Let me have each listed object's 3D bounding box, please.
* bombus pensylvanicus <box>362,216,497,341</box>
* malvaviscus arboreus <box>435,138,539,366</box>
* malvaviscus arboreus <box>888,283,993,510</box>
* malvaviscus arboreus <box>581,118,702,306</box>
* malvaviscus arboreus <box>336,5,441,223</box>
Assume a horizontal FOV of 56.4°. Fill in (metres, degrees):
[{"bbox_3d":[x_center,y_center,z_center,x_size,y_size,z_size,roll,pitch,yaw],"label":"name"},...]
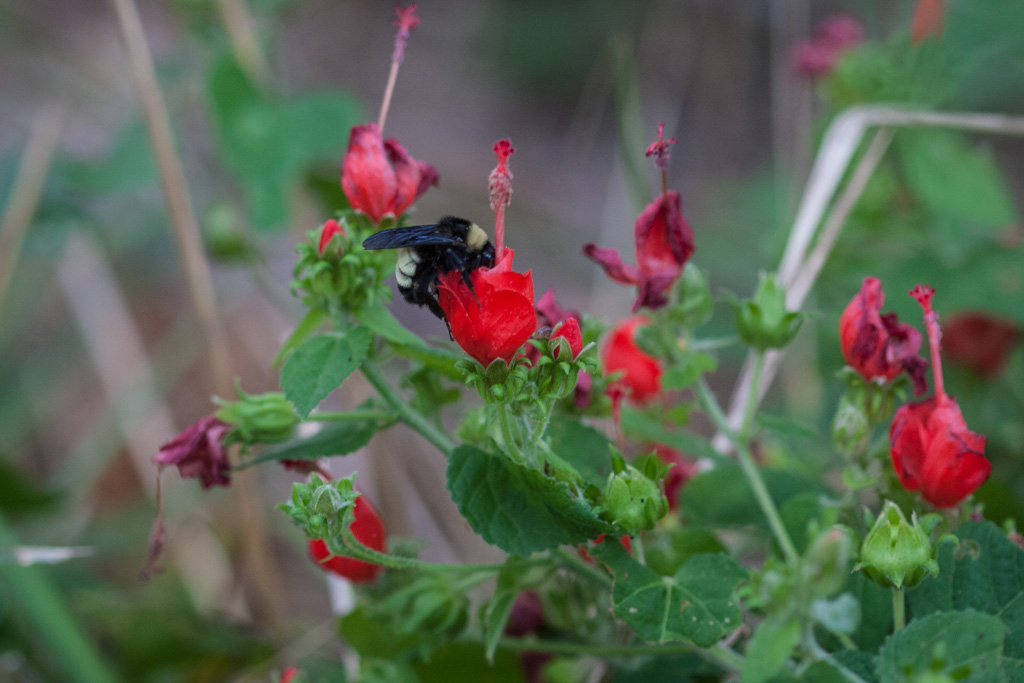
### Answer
[{"bbox_3d":[-0.093,-0.068,1.089,0.110,0.058,0.146,18,-13,-35],"label":"bombus pensylvanicus"},{"bbox_3d":[-0.035,-0.100,1.083,0.105,0.244,0.146,-9,7,3],"label":"malvaviscus arboreus"},{"bbox_3d":[0.490,0.064,1.113,0.101,0.257,0.175,-6,8,24],"label":"malvaviscus arboreus"},{"bbox_3d":[0.154,-0.143,1.118,0.120,0.204,0.165,-1,19,-3],"label":"malvaviscus arboreus"},{"bbox_3d":[-0.168,-0.286,1.216,0.154,0.266,0.130,-14,8,-31],"label":"malvaviscus arboreus"}]
